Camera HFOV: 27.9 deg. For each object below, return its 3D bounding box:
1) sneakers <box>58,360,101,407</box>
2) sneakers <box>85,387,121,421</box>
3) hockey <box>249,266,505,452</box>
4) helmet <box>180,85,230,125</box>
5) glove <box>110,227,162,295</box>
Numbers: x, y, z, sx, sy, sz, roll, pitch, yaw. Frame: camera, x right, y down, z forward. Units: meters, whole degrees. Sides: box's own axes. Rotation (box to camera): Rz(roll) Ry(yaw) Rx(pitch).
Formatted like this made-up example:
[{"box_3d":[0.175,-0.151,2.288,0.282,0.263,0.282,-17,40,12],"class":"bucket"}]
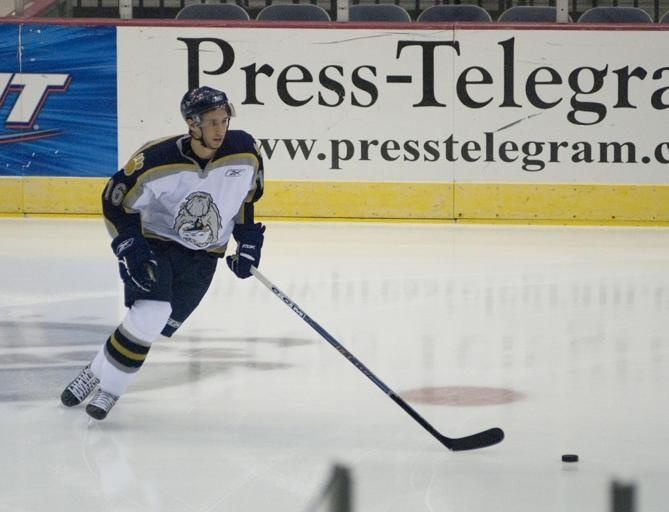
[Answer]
[{"box_3d":[-1.222,0.622,6.492,0.114,0.090,0.279,-25,18,48],"class":"sneakers"},{"box_3d":[-1.096,0.682,6.368,0.118,0.136,0.198,8,6,12],"class":"sneakers"},{"box_3d":[0.209,0.538,6.881,1.661,0.247,0.045,36,-8,33],"class":"hockey"},{"box_3d":[-0.622,-0.709,6.545,0.253,0.222,0.205,4,12,38],"class":"helmet"},{"box_3d":[-0.951,0.019,6.459,0.206,0.280,0.115,-31,-19,0],"class":"glove"}]
